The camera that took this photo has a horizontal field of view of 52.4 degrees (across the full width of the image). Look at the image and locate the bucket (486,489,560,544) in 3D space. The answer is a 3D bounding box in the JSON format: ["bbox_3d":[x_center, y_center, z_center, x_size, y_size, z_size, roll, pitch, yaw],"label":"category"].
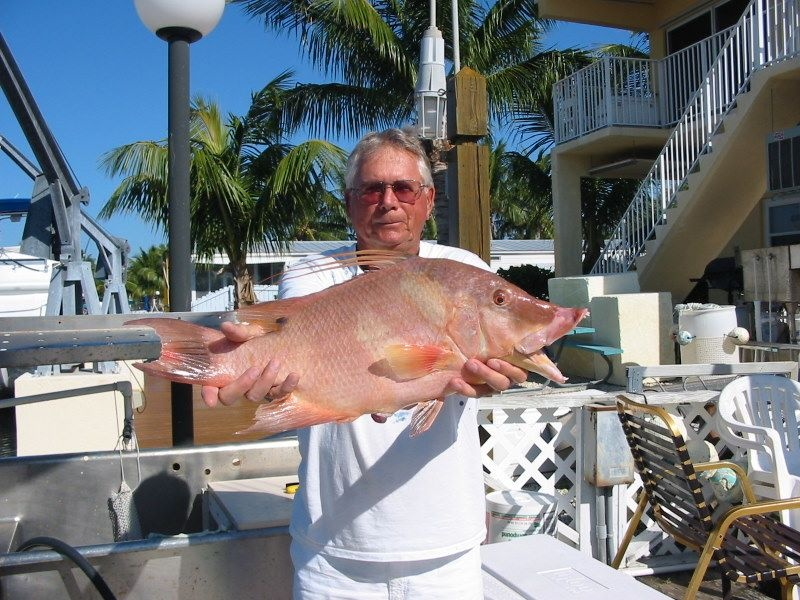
[{"bbox_3d":[0.990,1.805,6.632,0.524,0.428,0.575,0,-2,0],"label":"bucket"}]
